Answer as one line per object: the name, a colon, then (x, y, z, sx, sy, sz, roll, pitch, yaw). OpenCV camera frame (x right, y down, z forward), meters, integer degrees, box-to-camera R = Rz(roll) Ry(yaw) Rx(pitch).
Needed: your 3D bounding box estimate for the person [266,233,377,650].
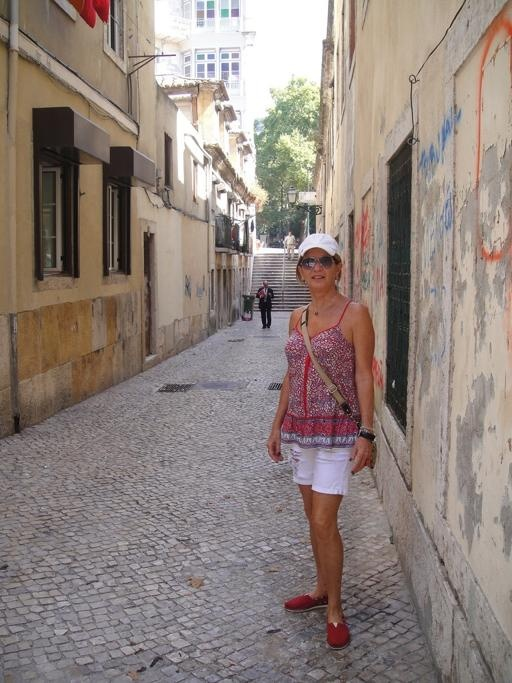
person: (0.297, 0.374, 2.677, 0.271, 1.675, 0.490, -1, 2, -38)

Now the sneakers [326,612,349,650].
sneakers: (0.330, 1.179, 2.513, 0.092, 0.083, 0.096, 0, 2, 7)

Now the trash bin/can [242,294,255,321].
trash bin/can: (-0.386, -1.499, 29.178, 0.550, 1.780, 0.869, 1, -1, 0)
